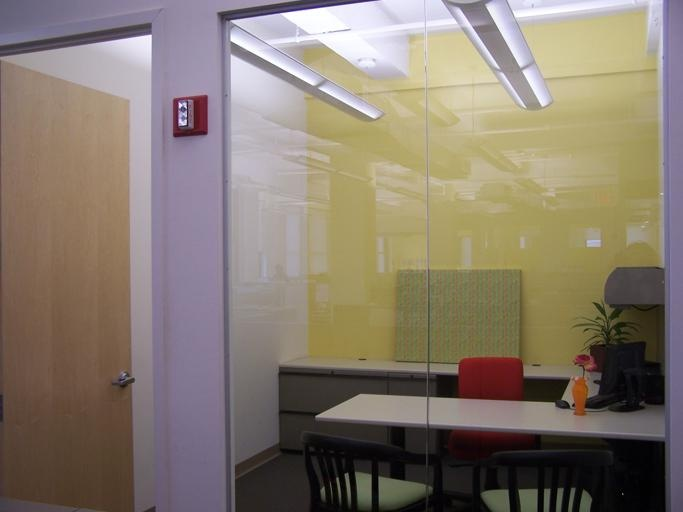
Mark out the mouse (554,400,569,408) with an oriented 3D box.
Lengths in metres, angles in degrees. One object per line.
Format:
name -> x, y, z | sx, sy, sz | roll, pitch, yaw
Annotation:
mouse -> 0.922, 0.620, 2.396 | 0.050, 0.018, 0.028 | -3, -3, 37

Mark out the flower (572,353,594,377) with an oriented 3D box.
flower -> 1.002, 0.448, 2.370 | 0.080, 0.087, 0.083 | 12, -7, -6

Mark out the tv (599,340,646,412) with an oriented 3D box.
tv -> 1.159, 0.499, 2.359 | 0.170, 0.282, 0.052 | 0, -3, -4

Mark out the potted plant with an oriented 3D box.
potted plant -> 1.080, 0.305, 2.366 | 0.264, 0.279, 0.251 | -1, 1, -44
